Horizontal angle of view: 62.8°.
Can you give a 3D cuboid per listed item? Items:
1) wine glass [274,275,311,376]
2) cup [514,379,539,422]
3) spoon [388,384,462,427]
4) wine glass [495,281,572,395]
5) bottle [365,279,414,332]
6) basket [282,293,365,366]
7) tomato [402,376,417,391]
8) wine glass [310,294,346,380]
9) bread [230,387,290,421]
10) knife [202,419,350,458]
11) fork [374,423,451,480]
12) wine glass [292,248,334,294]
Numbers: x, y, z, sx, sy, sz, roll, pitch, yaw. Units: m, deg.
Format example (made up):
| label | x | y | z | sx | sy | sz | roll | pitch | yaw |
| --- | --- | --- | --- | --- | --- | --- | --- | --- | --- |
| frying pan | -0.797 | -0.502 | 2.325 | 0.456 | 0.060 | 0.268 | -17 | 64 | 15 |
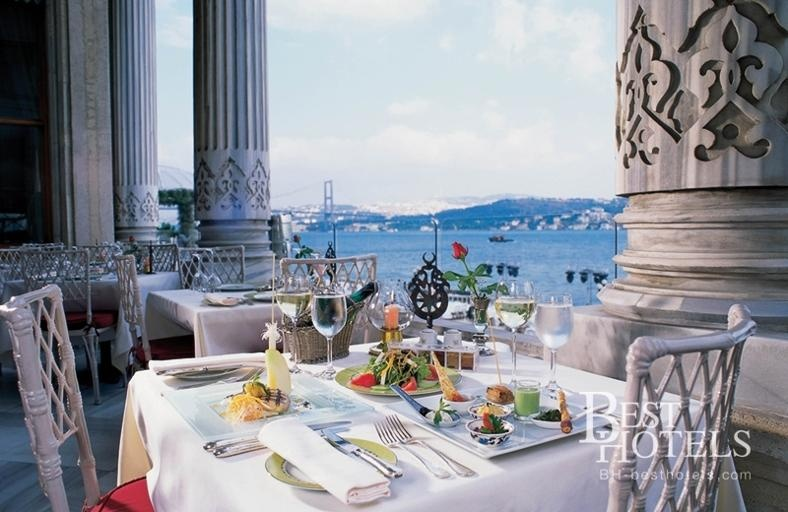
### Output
| label | x | y | z | sx | sy | sz | roll | pitch | yaw |
| --- | --- | --- | --- | --- | --- | --- | --- | --- | --- |
| wine glass | -0.404 | 0.251 | 2.601 | 0.147 | 0.355 | 0.394 | -3 | 6 | -10 |
| cup | 0.442 | 0.462 | 2.135 | 0.115 | 0.103 | 0.124 | 0 | 2 | 0 |
| spoon | 0.117 | 0.469 | 2.110 | 0.078 | 0.056 | 0.317 | 3 | 10 | -25 |
| wine glass | 0.522 | 0.282 | 2.373 | 0.286 | 0.373 | 0.273 | 1 | 7 | 27 |
| bottle | -0.015 | 0.196 | 2.571 | 0.177 | 0.199 | 0.180 | 3 | -6 | -36 |
| basket | -0.316 | 0.316 | 2.692 | 0.288 | 0.213 | 0.309 | -7 | 6 | -14 |
| tomato | 0.060 | 0.454 | 2.282 | 0.029 | 0.035 | 0.053 | 2 | -10 | -11 |
| wine glass | -0.252 | 0.286 | 2.468 | 0.123 | 0.329 | 0.286 | -3 | 6 | -9 |
| bread | -0.452 | 0.497 | 2.158 | 0.123 | 0.050 | 0.102 | -3 | 2 | -25 |
| knife | -0.370 | 0.568 | 2.010 | 0.331 | 0.027 | 0.082 | -3 | 12 | -21 |
| fork | 0.050 | 0.590 | 1.994 | 0.085 | 0.058 | 0.371 | -6 | 19 | -28 |
| wine glass | -0.399 | 0.078 | 3.441 | 0.272 | 0.126 | 0.325 | -1 | 7 | 1 |
